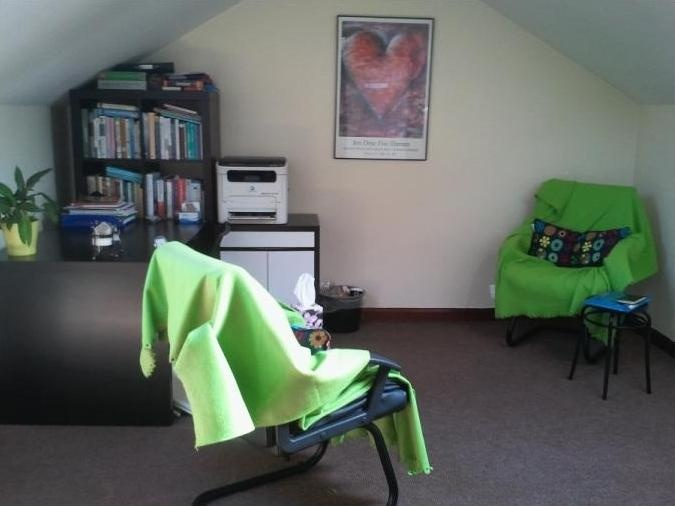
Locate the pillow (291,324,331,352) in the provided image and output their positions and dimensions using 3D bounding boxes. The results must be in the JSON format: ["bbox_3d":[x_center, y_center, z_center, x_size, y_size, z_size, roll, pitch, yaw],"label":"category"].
[{"bbox_3d":[-0.133,0.439,2.913,0.170,0.113,0.055,8,-1,-24],"label":"pillow"}]

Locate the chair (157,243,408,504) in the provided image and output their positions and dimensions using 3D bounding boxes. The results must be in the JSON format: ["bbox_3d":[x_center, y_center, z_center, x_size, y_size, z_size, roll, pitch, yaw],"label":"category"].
[{"bbox_3d":[-0.271,0.747,2.744,0.948,1.023,0.740,-7,6,-23],"label":"chair"}]

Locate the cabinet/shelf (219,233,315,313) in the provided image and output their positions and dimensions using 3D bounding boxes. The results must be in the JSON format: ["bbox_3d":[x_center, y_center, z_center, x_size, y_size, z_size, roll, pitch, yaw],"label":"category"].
[{"bbox_3d":[-0.435,0.078,3.497,0.487,0.495,0.168,0,9,-3],"label":"cabinet/shelf"}]

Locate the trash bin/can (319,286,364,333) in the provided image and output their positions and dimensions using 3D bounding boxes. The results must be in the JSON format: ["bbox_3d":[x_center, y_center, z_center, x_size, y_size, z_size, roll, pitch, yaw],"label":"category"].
[{"bbox_3d":[0.032,0.447,4.462,0.326,0.281,0.363,-1,11,-3],"label":"trash bin/can"}]

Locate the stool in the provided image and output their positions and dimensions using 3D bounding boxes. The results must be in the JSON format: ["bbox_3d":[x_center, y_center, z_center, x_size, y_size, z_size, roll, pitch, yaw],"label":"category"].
[{"bbox_3d":[1.871,0.663,3.862,0.437,0.683,0.488,-2,23,8],"label":"stool"}]

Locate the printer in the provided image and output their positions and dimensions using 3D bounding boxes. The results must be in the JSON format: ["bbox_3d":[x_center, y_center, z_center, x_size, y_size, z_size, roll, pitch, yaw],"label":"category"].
[{"bbox_3d":[-0.636,-0.448,4.294,0.533,0.502,0.492,-1,9,0],"label":"printer"}]

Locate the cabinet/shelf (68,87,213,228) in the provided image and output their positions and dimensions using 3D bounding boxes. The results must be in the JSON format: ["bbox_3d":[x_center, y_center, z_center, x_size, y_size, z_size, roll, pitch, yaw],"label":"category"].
[{"bbox_3d":[-1.469,-0.725,4.140,0.969,1.033,0.321,1,9,-1],"label":"cabinet/shelf"}]
